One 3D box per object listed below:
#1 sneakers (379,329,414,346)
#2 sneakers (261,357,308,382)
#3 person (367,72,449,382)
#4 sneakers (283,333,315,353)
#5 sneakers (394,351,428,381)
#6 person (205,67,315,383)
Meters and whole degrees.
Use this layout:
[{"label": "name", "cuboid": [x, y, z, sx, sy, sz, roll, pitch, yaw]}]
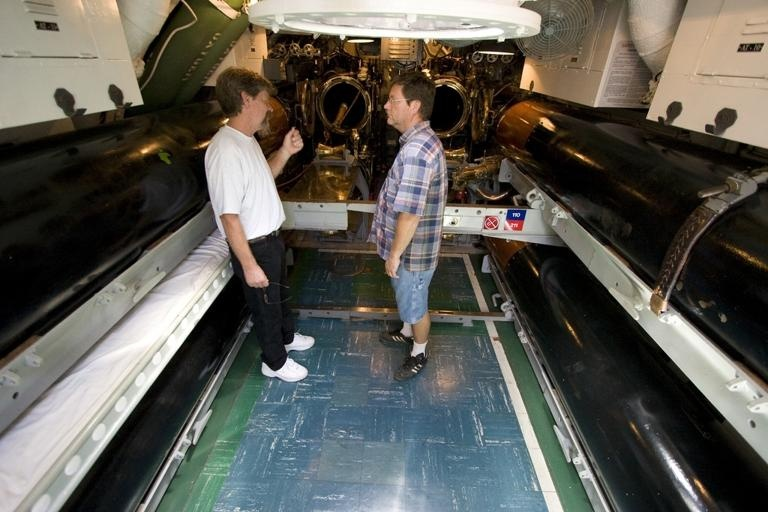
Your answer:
[{"label": "sneakers", "cuboid": [0.115, 0.746, 3.684, 0.327, 0.122, 0.117, 7, 8, -1]}, {"label": "sneakers", "cuboid": [-0.811, 0.936, 3.300, 0.373, 0.154, 0.165, 2, 21, 0]}, {"label": "person", "cuboid": [0.198, -0.129, 3.006, 0.555, 2.243, 0.768, -1, 32, -6]}, {"label": "sneakers", "cuboid": [-0.749, 0.764, 3.511, 0.284, 0.107, 0.110, -4, 18, -9]}, {"label": "sneakers", "cuboid": [0.247, 0.883, 3.362, 0.131, 0.144, 0.364, 20, 31, 40]}, {"label": "person", "cuboid": [-0.887, -0.122, 2.935, 0.604, 2.268, 0.809, -12, 35, -21]}]
